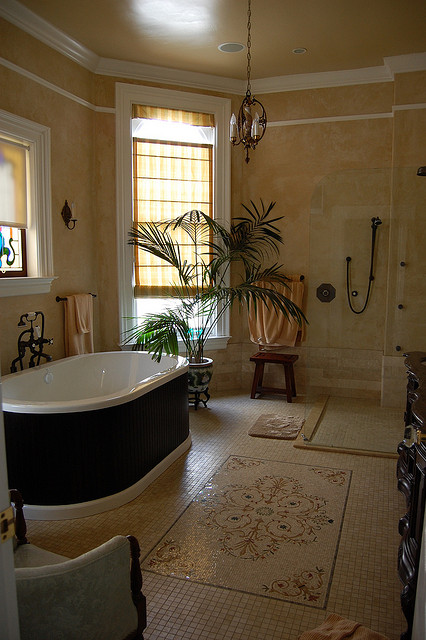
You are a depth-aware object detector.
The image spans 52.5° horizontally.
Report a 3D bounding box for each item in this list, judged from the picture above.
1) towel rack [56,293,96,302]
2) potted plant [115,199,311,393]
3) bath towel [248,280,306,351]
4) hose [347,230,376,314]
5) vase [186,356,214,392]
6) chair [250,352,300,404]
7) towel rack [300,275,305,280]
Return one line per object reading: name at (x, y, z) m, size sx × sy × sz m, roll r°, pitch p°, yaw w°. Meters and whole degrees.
towel rack at (-1.255, -0.199, 3.992) m, size 0.077 × 0.065 × 0.523 m, roll 1°, pitch 3°, yaw 16°
potted plant at (0.091, -0.223, 4.449) m, size 2.013 × 2.149 × 1.078 m, roll -1°, pitch 2°, yaw -26°
bath towel at (0.703, -0.068, 4.579) m, size 0.639 × 0.885 × 0.194 m, roll 4°, pitch 12°, yaw 23°
hose at (1.537, -0.490, 4.495) m, size 0.278 × 0.856 × 0.067 m, roll 1°, pitch 2°, yaw 21°
vase at (-0.108, 0.524, 4.292) m, size 0.284 × 0.326 × 0.295 m, roll 3°, pitch 12°, yaw 12°
chair at (0.660, 0.640, 4.670) m, size 0.475 × 0.489 × 0.391 m, roll 4°, pitch 3°, yaw 17°
towel rack at (0.972, -0.455, 4.685) m, size 0.009 × 0.039 × 0.038 m, roll -4°, pitch 31°, yaw 42°
